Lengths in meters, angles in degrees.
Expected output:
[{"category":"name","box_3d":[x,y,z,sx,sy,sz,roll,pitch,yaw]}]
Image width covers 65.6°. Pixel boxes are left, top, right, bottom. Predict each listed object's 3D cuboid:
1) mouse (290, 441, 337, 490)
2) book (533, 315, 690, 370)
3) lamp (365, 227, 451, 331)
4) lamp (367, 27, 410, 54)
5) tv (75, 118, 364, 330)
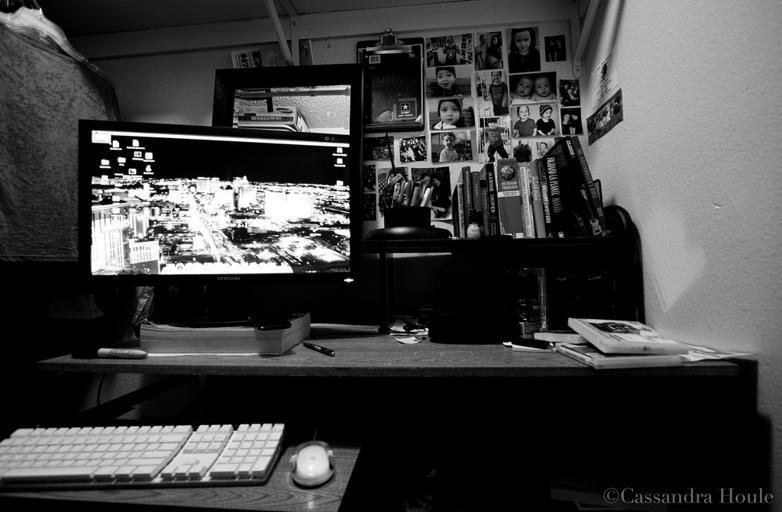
[{"category":"mouse","box_3d":[-0.215,0.548,1.648,0.128,0.047,0.160,-4,19,-5]},{"category":"book","box_3d":[0.633,0.246,1.774,0.391,0.096,0.246,-3,8,2]},{"category":"lamp","box_3d":[0.088,0.062,2.125,0.399,0.324,0.372,-4,5,-15]},{"category":"lamp","box_3d":[-0.011,-0.809,2.306,0.165,0.093,0.040,-3,8,1]},{"category":"tv","box_3d":[-0.571,-0.105,1.935,0.911,0.534,0.215,0,-10,-6]}]
